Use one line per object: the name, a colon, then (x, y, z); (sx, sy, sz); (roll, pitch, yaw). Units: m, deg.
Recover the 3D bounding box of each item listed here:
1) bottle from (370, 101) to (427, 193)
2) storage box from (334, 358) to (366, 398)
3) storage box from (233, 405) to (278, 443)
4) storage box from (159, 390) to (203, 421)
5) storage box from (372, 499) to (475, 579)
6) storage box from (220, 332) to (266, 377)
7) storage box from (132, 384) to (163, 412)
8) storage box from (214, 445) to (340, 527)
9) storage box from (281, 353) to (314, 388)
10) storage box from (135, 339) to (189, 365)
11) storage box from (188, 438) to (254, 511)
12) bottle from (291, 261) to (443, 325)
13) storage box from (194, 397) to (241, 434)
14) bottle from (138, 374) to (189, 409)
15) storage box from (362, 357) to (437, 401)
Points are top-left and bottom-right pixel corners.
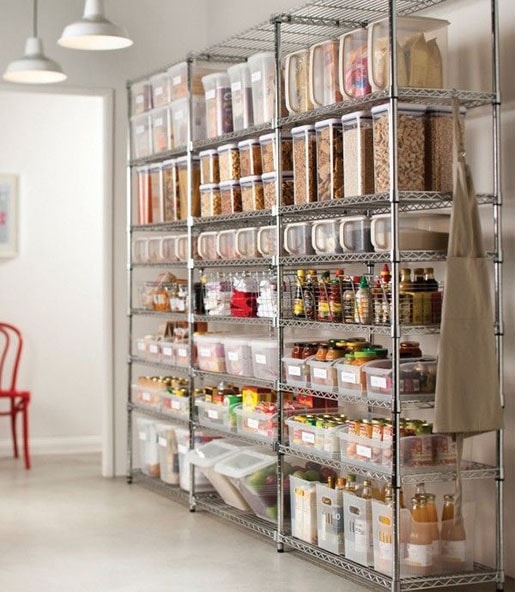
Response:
bottle: (0.514, -0.542, 2.263); (0.196, 0.339, 0.247); (-1, -5, 11)
storage box: (0.367, 0.328, 2.476); (0.131, 0.120, 0.177); (0, -2, -14)
storage box: (-0.021, 0.639, 3.104); (0.155, 0.095, 0.218); (1, 0, -29)
storage box: (-0.509, 0.682, 3.852); (0.147, 0.080, 0.209); (1, 2, -33)
storage box: (0.589, 0.880, 2.448); (0.361, 0.302, 0.342); (3, -5, -24)
storage box: (-0.105, 0.311, 3.318); (0.202, 0.220, 0.281); (1, -3, -26)
storage box: (-0.729, 0.682, 4.200); (0.060, 0.177, 0.210); (-10, 7, -39)
storage box: (0.013, 0.946, 3.105); (0.424, 0.178, 0.458); (0, 2, -31)
storage box: (0.170, 0.340, 2.809); (0.132, 0.134, 0.200); (1, -1, -22)
storage box: (-0.607, 0.348, 4.009); (0.186, 0.082, 0.278); (2, 1, -34)
storage box: (-0.253, 0.947, 3.434); (0.393, 0.334, 0.443); (0, 0, -29)
bottle: (0.440, 0.000, 2.580); (0.280, 0.273, 0.731); (2, -5, -26)
storage box: (-0.234, 0.662, 3.440); (0.158, 0.087, 0.216); (1, 1, -36)
bottle: (-0.612, 0.640, 4.074); (0.227, 0.119, 0.304); (0, 4, -27)
storage box: (0.525, 0.314, 2.324); (0.241, 0.095, 0.146); (2, -4, -31)
